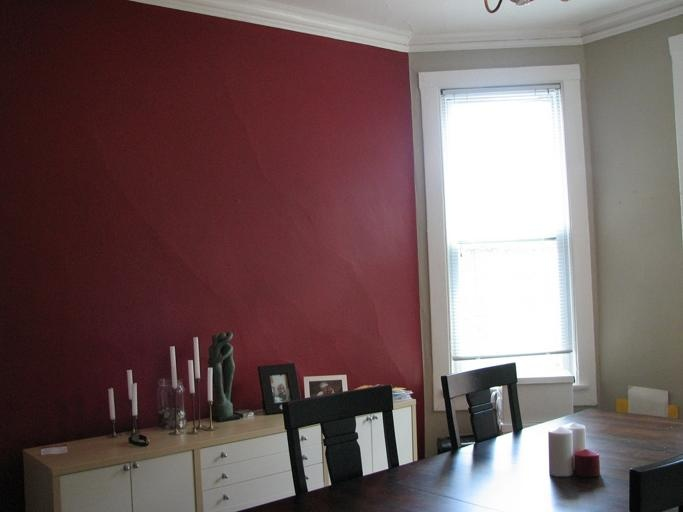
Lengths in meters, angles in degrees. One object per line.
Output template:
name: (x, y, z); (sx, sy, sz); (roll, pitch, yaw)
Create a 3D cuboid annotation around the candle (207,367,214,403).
candle: (-0.803, 0.789, 3.485); (0.040, 0.201, 0.181); (-4, 1, -14)

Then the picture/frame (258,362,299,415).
picture/frame: (-0.407, 0.835, 3.586); (0.330, 0.375, 0.184); (-1, 2, -36)

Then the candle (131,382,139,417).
candle: (-1.202, 0.827, 3.292); (0.028, 0.188, 0.079); (-4, 2, -20)

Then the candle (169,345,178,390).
candle: (-1.027, 0.658, 3.473); (0.044, 0.235, 0.268); (-4, 1, -17)

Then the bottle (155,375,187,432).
bottle: (-1.048, 0.891, 3.498); (0.160, 0.305, 0.154); (1, 3, 0)

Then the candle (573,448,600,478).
candle: (1.015, 0.843, 2.365); (0.086, 0.117, 0.095); (0, 1, 1)

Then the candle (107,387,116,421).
candle: (-1.355, 0.867, 3.348); (0.044, 0.215, 0.171); (-4, 2, -23)
